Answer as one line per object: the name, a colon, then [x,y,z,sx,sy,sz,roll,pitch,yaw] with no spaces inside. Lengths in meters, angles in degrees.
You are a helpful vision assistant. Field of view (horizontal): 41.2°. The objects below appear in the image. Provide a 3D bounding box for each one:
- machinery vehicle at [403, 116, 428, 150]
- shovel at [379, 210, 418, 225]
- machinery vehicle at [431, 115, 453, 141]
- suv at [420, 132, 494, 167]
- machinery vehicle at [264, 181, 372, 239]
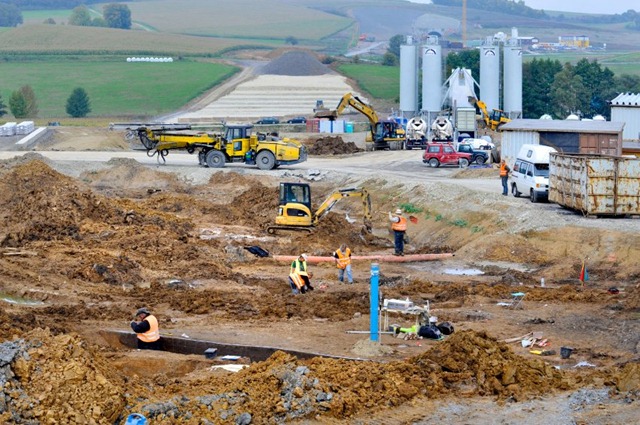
machinery vehicle: [7.325,-6.064,64.196,1.573,2.000,4.324,0,6,10]
shovel: [3.869,0.267,38.018,2.143,0.577,0.371,7,22,-45]
machinery vehicle: [8.886,-6.262,62.555,1.130,0.863,2.138,2,29,7]
suv: [8.496,-3.663,54.155,3.517,1.437,1.939,-1,9,4]
machinery vehicle: [-0.005,-0.186,38.632,4.766,1.952,1.591,1,7,-3]
